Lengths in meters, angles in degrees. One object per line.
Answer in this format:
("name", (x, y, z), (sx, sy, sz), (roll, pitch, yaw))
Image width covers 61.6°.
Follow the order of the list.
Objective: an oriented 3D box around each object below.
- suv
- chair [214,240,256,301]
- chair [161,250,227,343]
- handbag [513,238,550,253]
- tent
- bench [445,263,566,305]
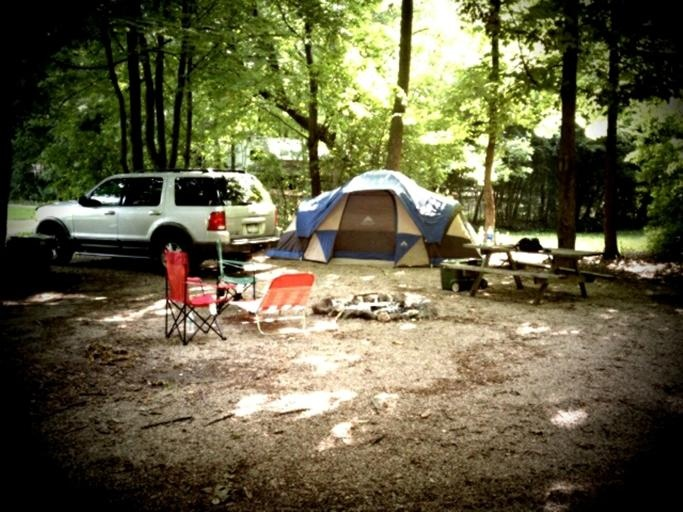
("suv", (-4.388, -0.936, 13.550), (5.183, 1.936, 2.409), (5, 9, 16))
("chair", (-2.167, 0.279, 11.448), (0.855, 1.360, 1.026), (-1, 8, -4))
("chair", (-2.509, 0.714, 9.660), (0.993, 1.599, 1.287), (-3, 7, -33))
("handbag", (4.314, -0.232, 12.932), (0.610, 0.323, 0.841), (0, 6, 6))
("tent", (0.907, -0.979, 14.714), (4.857, 2.479, 1.048), (0, 5, 12))
("bench", (3.652, 0.489, 11.930), (2.302, 0.665, 2.382), (-4, 6, -39))
